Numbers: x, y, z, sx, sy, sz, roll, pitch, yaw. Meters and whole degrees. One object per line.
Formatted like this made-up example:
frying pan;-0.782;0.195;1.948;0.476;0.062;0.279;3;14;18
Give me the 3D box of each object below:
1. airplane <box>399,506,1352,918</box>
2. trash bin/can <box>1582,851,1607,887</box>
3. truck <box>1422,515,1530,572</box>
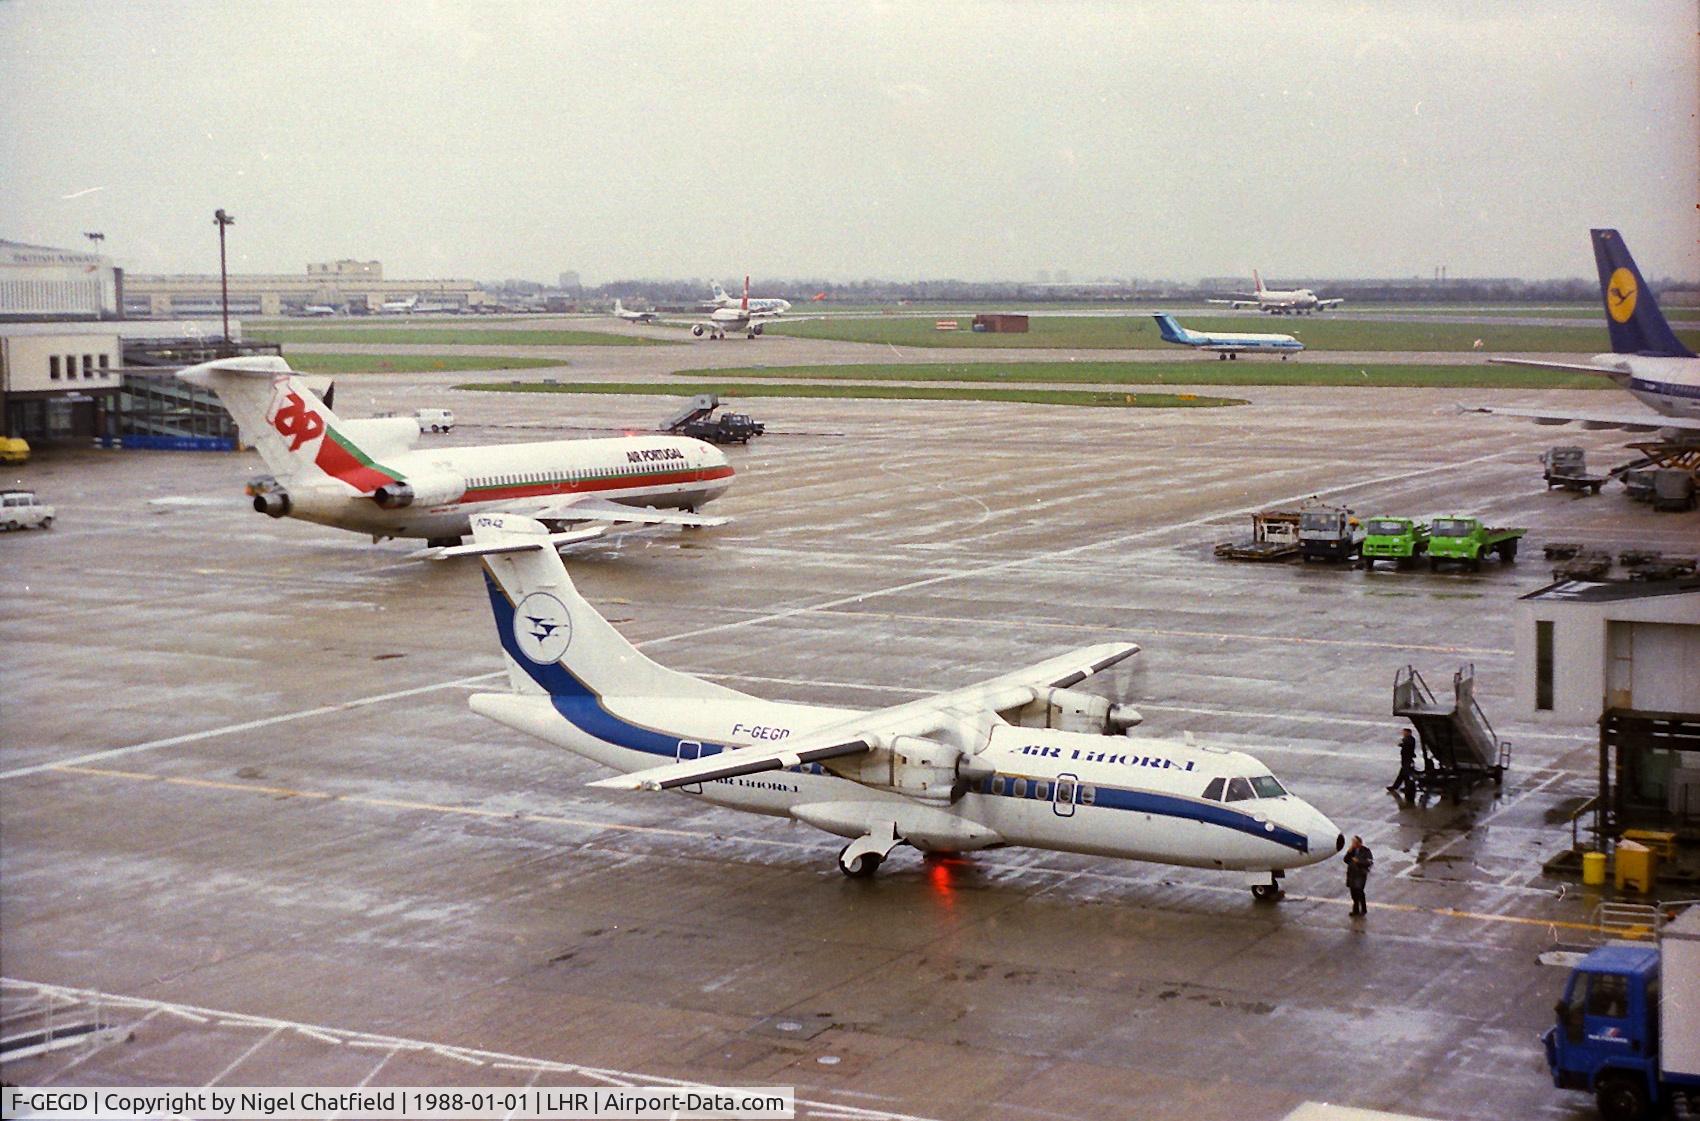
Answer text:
airplane;0.595;4.955;42.185;20.471;3.659;15.971;4;8;25
trash bin/can;19.440;7.942;41.513;0.625;0.801;0.939;-3;5;21
truck;30.372;-0.957;77.983;3.614;2.465;2.685;-7;6;-38
